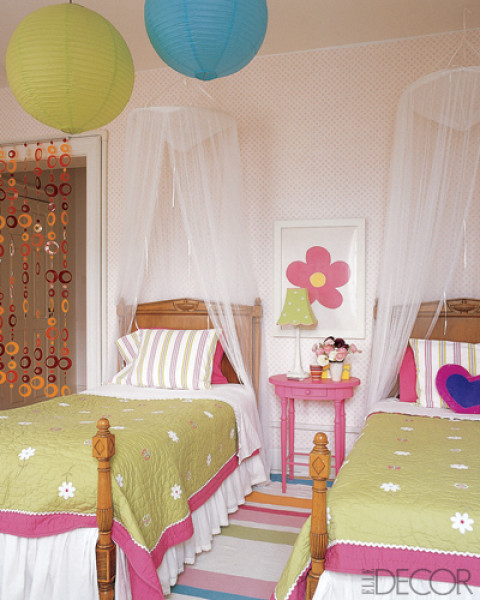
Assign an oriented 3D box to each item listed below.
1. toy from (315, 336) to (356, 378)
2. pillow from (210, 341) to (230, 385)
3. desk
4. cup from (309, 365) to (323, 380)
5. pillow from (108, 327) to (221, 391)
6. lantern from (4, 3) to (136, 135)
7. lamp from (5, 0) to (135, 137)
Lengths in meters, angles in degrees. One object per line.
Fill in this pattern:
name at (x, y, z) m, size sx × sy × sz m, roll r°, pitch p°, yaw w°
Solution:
toy at (0.639, 0.391, 3.408) m, size 0.295 × 0.287 × 0.178 m, roll -2°, pitch -7°, yaw 1°
pillow at (-0.173, 0.417, 3.491) m, size 0.066 × 0.245 × 0.198 m, roll -6°, pitch -26°, yaw 18°
desk at (0.474, 0.833, 3.322) m, size 0.535 × 0.671 × 0.354 m, roll 0°, pitch 5°, yaw 14°
cup at (0.502, 0.472, 3.321) m, size 0.086 × 0.099 × 0.087 m, roll 2°, pitch -8°, yaw 0°
pillow at (-0.463, 0.376, 3.325) m, size 0.638 × 0.383 × 0.176 m, roll 2°, pitch -26°, yaw 28°
lantern at (-0.526, -0.705, 1.796) m, size 0.418 × 0.498 × 0.434 m, roll 1°, pitch -4°, yaw 5°
lamp at (-0.509, -0.712, 1.811) m, size 0.432 × 0.516 × 0.436 m, roll 0°, pitch 0°, yaw -1°
